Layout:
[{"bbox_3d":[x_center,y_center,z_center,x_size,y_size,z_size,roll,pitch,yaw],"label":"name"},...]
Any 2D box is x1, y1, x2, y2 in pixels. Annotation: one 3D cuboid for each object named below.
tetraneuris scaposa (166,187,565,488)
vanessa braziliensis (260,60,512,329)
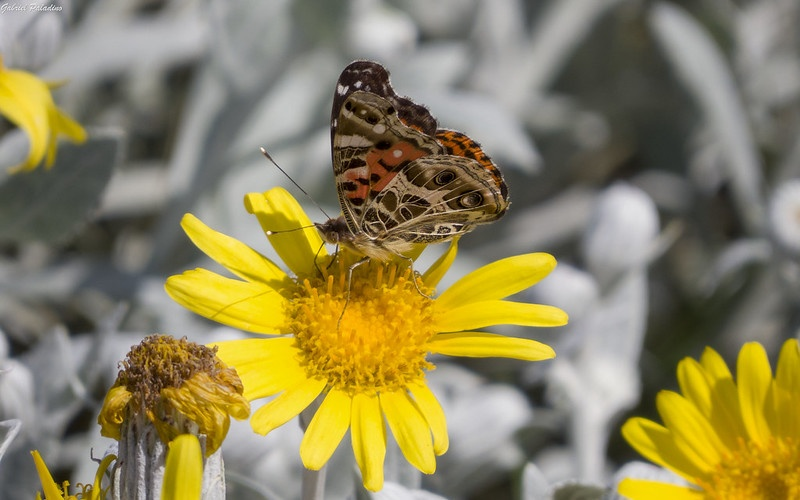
[{"bbox_3d":[-0.057,0.123,1.468,0.457,0.166,0.455,-28,83,-7],"label":"tetraneuris scaposa"},{"bbox_3d":[-0.039,-0.011,1.555,0.326,0.395,0.278,16,25,-26],"label":"vanessa braziliensis"}]
